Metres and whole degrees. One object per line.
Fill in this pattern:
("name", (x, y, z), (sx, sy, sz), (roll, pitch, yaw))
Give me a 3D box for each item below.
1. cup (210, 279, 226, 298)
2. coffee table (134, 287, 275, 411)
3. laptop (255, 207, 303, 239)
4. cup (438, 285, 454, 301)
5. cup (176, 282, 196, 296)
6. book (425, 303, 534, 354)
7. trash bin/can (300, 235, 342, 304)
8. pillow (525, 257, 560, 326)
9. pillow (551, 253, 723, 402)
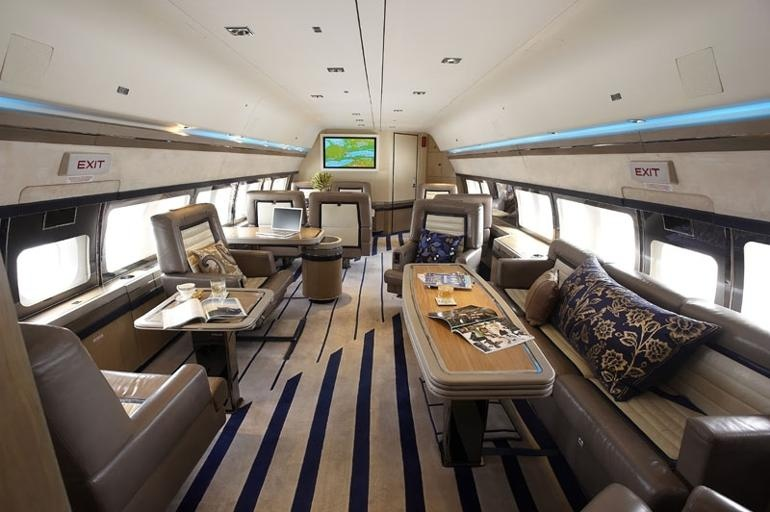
("cup", (-1.399, 0.260, 3.639), (0.131, 0.148, 0.133), (2, 15, -1))
("coffee table", (-1.343, 0.820, 3.853), (1.044, 1.013, 1.054), (0, 22, 0))
("laptop", (-1.331, -0.456, 5.796), (0.519, 0.373, 0.438), (2, 7, 12))
("cup", (0.518, 0.328, 3.703), (0.126, 0.095, 0.101), (-1, 2, -20))
("cup", (-1.653, 0.278, 3.639), (0.161, 0.113, 0.131), (-10, 16, -37))
("book", (0.764, 0.555, 3.249), (0.305, 0.050, 0.454), (-9, 20, -21))
("trash bin/can", (-0.806, 0.177, 5.678), (0.532, 0.784, 0.534), (-4, 19, -14))
("pillow", (1.499, 0.341, 4.059), (0.219, 0.384, 0.573), (10, 6, 18))
("pillow", (1.795, 0.557, 3.531), (0.518, 0.764, 1.327), (11, 16, -11))
